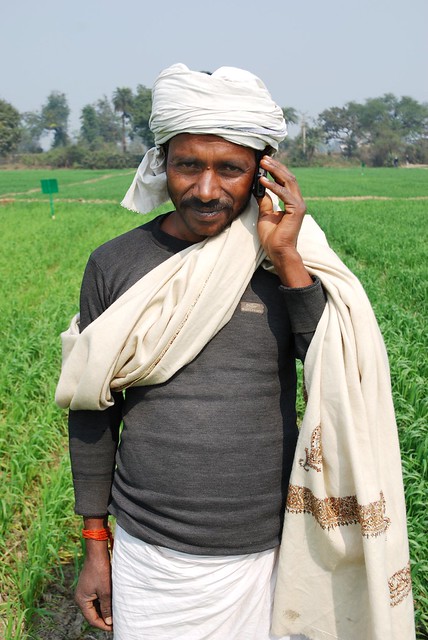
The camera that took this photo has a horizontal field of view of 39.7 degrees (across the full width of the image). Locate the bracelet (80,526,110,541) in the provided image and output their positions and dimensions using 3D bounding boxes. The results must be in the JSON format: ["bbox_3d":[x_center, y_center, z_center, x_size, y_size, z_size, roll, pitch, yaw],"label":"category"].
[{"bbox_3d":[-0.374,0.661,1.853,0.055,0.024,0.059,10,-15,-35],"label":"bracelet"}]
